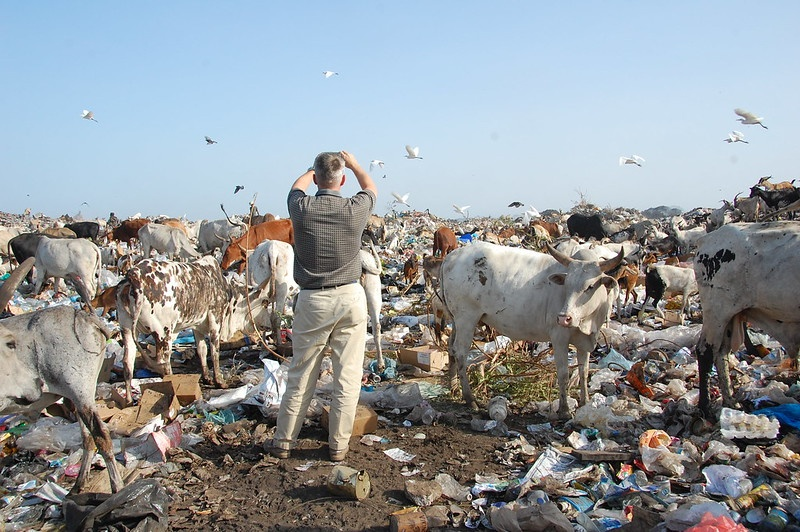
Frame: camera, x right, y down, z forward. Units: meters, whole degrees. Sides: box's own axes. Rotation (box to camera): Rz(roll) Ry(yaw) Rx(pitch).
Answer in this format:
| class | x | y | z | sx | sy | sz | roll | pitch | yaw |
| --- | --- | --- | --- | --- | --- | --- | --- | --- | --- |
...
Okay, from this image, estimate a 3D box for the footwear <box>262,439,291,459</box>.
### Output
| class | x | y | z | sx | sy | sz | roll | pitch | yaw |
| --- | --- | --- | --- | --- | --- | --- | --- | --- | --- |
| footwear | -1.275 | 1.901 | 5.699 | 0.133 | 0.129 | 0.322 | 0 | 8 | -42 |
